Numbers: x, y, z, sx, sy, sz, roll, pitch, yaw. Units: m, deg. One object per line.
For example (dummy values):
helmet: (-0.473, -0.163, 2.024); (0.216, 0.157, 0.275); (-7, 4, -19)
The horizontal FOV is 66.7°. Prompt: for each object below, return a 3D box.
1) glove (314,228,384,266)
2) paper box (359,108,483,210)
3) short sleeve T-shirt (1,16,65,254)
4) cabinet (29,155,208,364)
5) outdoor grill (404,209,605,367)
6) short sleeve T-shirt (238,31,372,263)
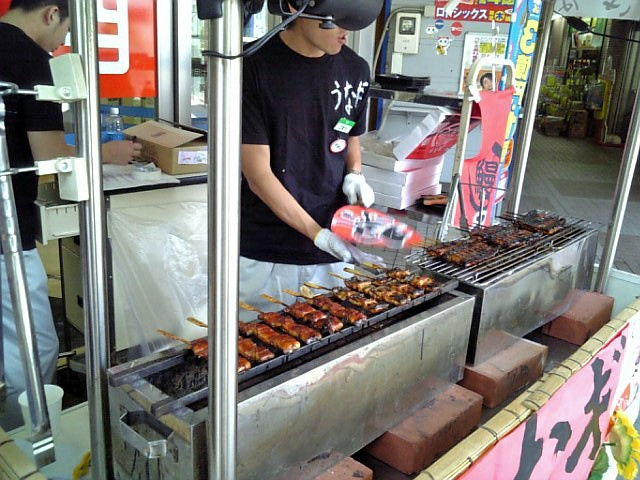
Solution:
glove: (0.141, 0.020, 2.261); (0.277, 0.072, 0.165); (26, 11, 3)
paper box: (0.677, -0.634, 3.697); (0.911, 0.609, 0.959); (12, 25, 43)
short sleeve T-shirt: (-1.484, -0.496, 2.549); (0.264, 1.165, 0.386); (-10, 21, -34)
cabinet: (-1.220, 0.185, 3.547); (1.450, 1.358, 0.946); (-10, 23, -36)
outdoor grill: (0.932, 0.168, 2.470); (1.151, 0.387, 0.485); (-16, 25, -37)
short sleeve T-shirt: (-0.082, -0.502, 2.585); (0.726, 1.090, 0.432); (-6, 26, -18)
